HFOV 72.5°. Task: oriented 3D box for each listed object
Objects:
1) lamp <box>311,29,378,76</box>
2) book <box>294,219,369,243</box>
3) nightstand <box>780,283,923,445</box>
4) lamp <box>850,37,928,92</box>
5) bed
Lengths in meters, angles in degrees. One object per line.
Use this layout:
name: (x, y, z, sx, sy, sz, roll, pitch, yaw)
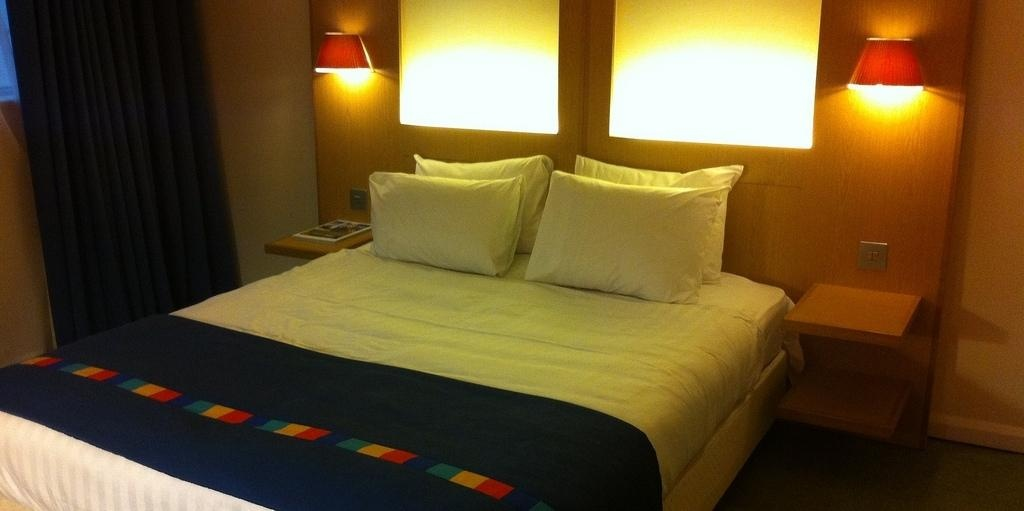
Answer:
lamp: (-1.296, -1.539, 5.381, 0.441, 0.246, 0.355, 4, 16, 13)
book: (-1.377, -0.187, 5.358, 0.290, 0.028, 0.316, 11, 21, 31)
nightstand: (2.212, 0.744, 4.452, 0.901, 0.978, 0.710, 14, 20, 27)
lamp: (2.329, -1.168, 4.357, 0.398, 0.239, 0.393, 5, 17, 21)
bed: (-0.040, 0.466, 4.188, 2.296, 0.515, 2.339, 9, 18, 26)
